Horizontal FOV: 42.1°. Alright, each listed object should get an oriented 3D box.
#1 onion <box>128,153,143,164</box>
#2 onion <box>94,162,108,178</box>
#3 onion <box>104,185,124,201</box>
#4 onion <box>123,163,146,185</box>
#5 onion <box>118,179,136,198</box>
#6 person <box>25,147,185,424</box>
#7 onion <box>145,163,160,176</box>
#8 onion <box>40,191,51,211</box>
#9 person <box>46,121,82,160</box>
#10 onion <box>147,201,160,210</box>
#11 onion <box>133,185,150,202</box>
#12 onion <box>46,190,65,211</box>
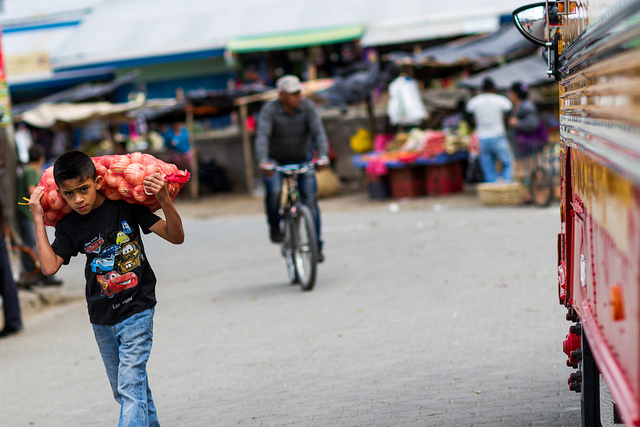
[{"bbox_3d":[-1.224,-0.361,5.532,0.067,0.047,0.076,-1,16,2],"label":"onion"},{"bbox_3d":[-1.454,-0.286,5.510,0.071,0.045,0.076,11,12,-20],"label":"onion"},{"bbox_3d":[-1.367,-0.125,5.509,0.031,0.089,0.089,-54,9,-36],"label":"onion"},{"bbox_3d":[-1.215,-0.261,5.461,0.119,0.134,0.127,-16,37,-25],"label":"onion"},{"bbox_3d":[-1.279,-0.160,5.462,0.078,0.061,0.106,12,32,-9],"label":"onion"},{"bbox_3d":[-1.431,0.616,5.788,0.949,2.150,1.063,-10,10,-32],"label":"person"},{"bbox_3d":[-1.111,-0.287,5.486,0.095,0.062,0.063,-7,10,-12],"label":"onion"},{"bbox_3d":[-1.806,-0.078,5.550,0.082,0.111,0.092,0,42,-8],"label":"onion"},{"bbox_3d":[-7.359,-2.071,23.763,0.903,1.606,1.485,-2,3,-13],"label":"person"},{"bbox_3d":[-1.117,-0.044,5.591,0.057,0.060,0.060,-18,41,-24],"label":"onion"},{"bbox_3d":[-1.183,-0.136,5.510,0.085,0.094,0.094,2,40,6],"label":"onion"},{"bbox_3d":[-1.753,-0.083,5.546,0.106,0.122,0.115,24,15,6],"label":"onion"}]
